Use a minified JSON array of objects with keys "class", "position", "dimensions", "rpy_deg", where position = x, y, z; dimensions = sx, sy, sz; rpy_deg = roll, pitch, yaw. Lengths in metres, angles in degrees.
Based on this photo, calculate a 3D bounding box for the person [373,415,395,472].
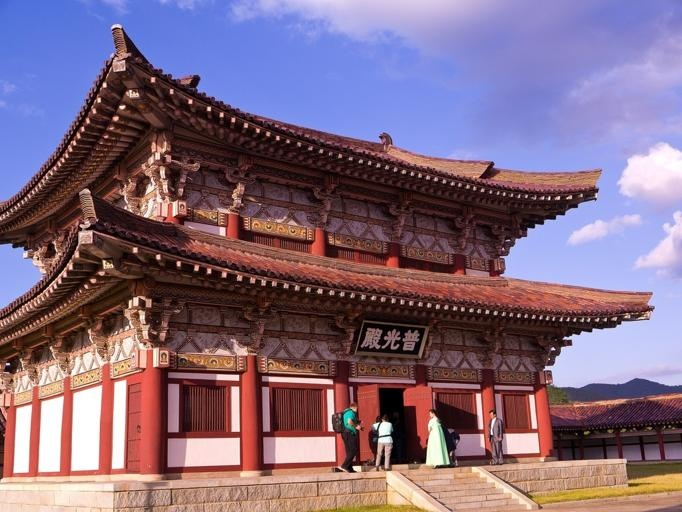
[{"class":"person","position":[1.424,6.293,26.935],"dimensions":[0.640,1.864,1.077],"rpy_deg":[-4,-21,2]}]

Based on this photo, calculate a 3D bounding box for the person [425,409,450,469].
[{"class":"person","position":[3.253,6.285,27.625],"dimensions":[0.597,1.968,0.749],"rpy_deg":[10,-25,-31]}]

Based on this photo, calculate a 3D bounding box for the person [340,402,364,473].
[{"class":"person","position":[0.316,5.953,26.323],"dimensions":[0.718,2.237,0.739],"rpy_deg":[-3,-22,-1]}]

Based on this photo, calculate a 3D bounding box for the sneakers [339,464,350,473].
[{"class":"sneakers","position":[0.100,6.995,26.208],"dimensions":[0.404,0.153,0.141],"rpy_deg":[22,-11,34]}]
